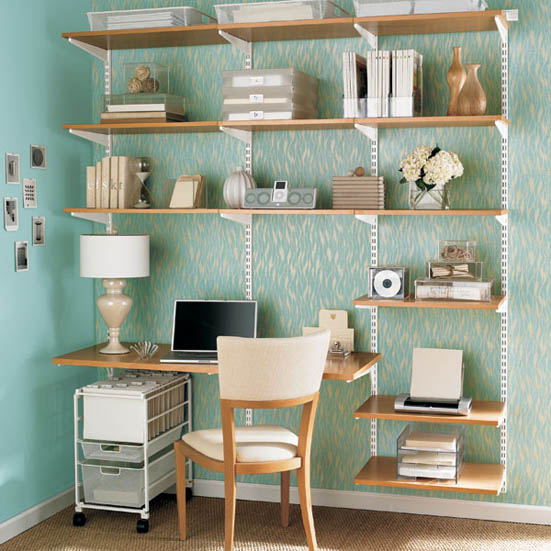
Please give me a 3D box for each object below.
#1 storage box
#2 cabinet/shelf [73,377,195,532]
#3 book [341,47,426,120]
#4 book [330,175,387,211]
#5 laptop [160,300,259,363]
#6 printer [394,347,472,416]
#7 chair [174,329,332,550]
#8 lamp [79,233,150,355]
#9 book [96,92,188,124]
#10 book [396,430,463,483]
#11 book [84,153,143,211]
[{"bbox_3d":[-0.656,0.873,2.797,0.281,0.260,0.407,-1,-1,16],"label":"storage box"},{"bbox_3d":[-0.662,0.763,2.713,0.463,0.761,0.697,-1,-2,14],"label":"cabinet/shelf"},{"bbox_3d":[0.462,-0.812,2.541,0.339,0.302,0.230,1,8,6],"label":"book"},{"bbox_3d":[0.360,-0.355,2.583,0.244,0.156,0.140,0,1,8],"label":"book"},{"bbox_3d":[-0.298,0.237,2.809,0.442,0.283,0.252,0,-4,4],"label":"laptop"},{"bbox_3d":[0.666,0.437,2.556,0.327,0.311,0.243,-1,-5,23],"label":"printer"},{"bbox_3d":[-0.107,0.672,2.326,0.622,0.955,0.374,1,8,7],"label":"chair"},{"bbox_3d":[-0.758,0.085,2.870,0.313,0.564,0.239,-2,8,-16],"label":"lamp"},{"bbox_3d":[-0.605,-0.789,2.818,0.257,0.086,0.244,0,3,7],"label":"book"},{"bbox_3d":[0.647,0.734,2.503,0.196,0.125,0.196,1,1,16],"label":"book"},{"bbox_3d":[-0.746,-0.415,2.998,0.237,0.318,0.331,3,-1,17],"label":"book"}]
